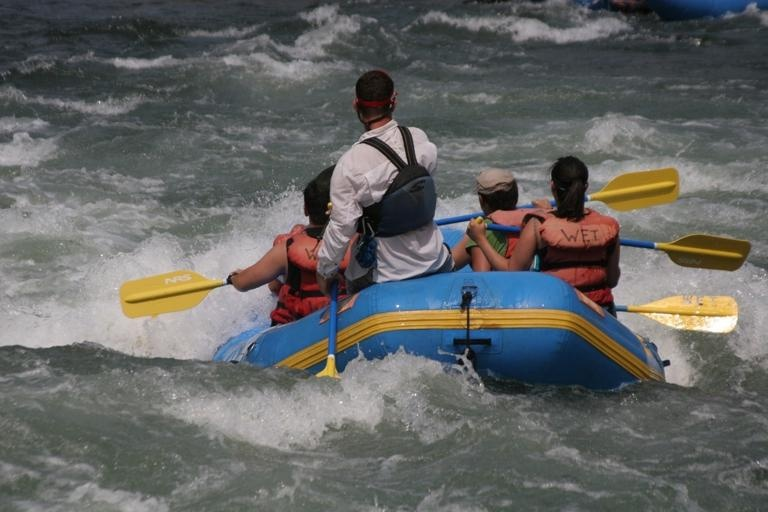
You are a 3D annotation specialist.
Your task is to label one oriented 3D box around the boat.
[{"bbox_3d":[0.672,1.045,15.926,3.964,0.764,2.403,-8,-16,30],"label":"boat"}]
